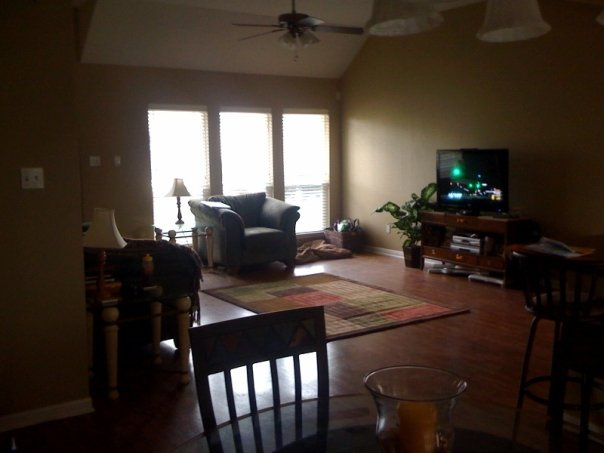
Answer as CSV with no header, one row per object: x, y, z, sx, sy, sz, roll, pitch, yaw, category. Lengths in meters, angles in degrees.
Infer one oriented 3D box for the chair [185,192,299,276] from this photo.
-0.836,0.027,7.114,1.315,0.982,1.265,-5,10,-37,chair

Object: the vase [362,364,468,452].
0.306,0.516,1.312,0.262,0.226,0.298,1,8,15,vase

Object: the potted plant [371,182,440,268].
1.623,-0.036,6.893,0.604,1.194,1.015,-8,10,-42,potted plant

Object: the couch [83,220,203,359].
-1.120,0.672,4.021,1.055,0.915,1.063,18,-9,-11,couch

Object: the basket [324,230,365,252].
0.755,0.234,7.983,0.417,0.267,0.426,0,4,-38,basket

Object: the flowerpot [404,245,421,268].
1.551,0.431,6.697,0.282,0.341,0.268,0,-1,-20,flowerpot

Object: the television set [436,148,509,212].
2.086,-0.569,5.945,0.171,0.772,1.016,-5,9,-30,television set

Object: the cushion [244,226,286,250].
-0.526,0.192,6.677,0.647,0.245,0.171,-6,9,-29,cushion

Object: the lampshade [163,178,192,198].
-1.681,-0.519,6.439,0.294,0.250,0.230,2,8,21,lampshade
